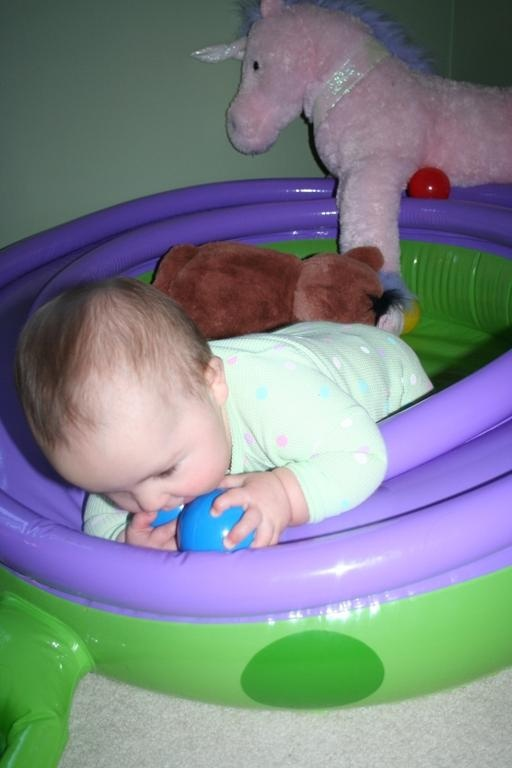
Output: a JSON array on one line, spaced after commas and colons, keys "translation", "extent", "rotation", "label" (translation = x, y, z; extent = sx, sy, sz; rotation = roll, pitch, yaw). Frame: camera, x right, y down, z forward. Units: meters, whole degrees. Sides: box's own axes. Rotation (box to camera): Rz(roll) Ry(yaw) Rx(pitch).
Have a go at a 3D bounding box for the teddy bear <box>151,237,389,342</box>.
[{"translation": [0.042, -0.195, 1.290], "extent": [0.346, 0.111, 0.223], "rotation": [2, 34, -9], "label": "teddy bear"}]
